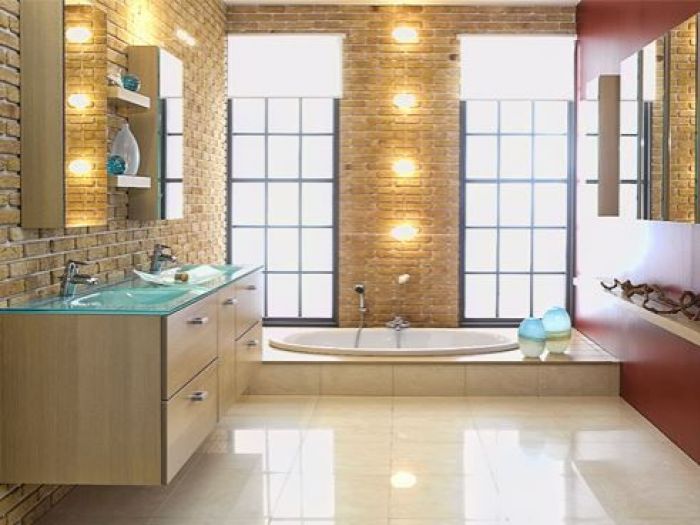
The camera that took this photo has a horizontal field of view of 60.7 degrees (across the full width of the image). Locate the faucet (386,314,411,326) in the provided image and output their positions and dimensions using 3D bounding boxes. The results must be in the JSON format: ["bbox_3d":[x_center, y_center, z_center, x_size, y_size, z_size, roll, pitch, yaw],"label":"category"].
[{"bbox_3d":[0.475,0.578,6.018,0.216,0.133,0.102,0,-91,4],"label":"faucet"}]

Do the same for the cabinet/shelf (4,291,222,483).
[{"bbox_3d":[-1.275,0.640,3.288,0.867,1.597,0.730,0,-90,-4],"label":"cabinet/shelf"}]
